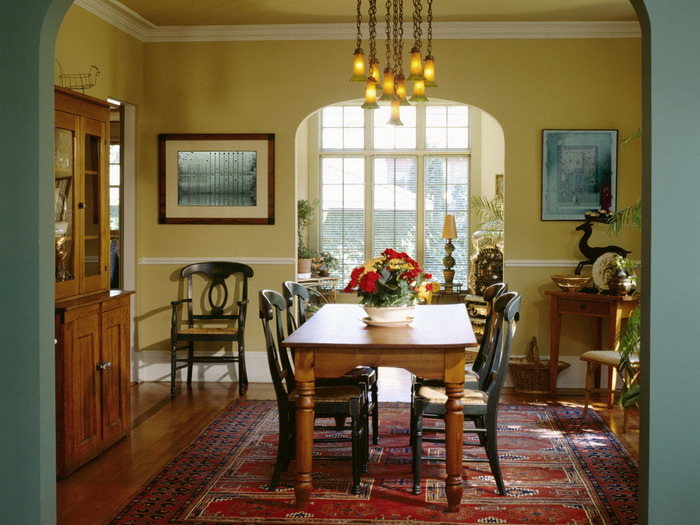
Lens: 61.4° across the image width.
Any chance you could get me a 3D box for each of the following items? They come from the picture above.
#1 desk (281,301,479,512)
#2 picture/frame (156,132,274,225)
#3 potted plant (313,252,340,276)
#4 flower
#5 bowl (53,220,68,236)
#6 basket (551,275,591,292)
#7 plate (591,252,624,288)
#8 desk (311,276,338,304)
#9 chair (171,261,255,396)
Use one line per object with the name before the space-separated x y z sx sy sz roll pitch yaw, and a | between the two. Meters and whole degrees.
desk | 0.207 0.868 4.342 1.116 0.999 2.068 0 4 0
picture/frame | -1.304 -0.866 5.890 0.911 0.770 0.070 0 3 4
potted plant | -0.350 0.034 8.319 0.329 0.416 0.307 1 -4 -10
flower | 0.267 0.053 3.887 0.421 0.345 0.428 2 -1 19
bowl | -1.853 -0.212 3.790 0.034 0.098 0.171 -1 5 -11
basket | 2.035 0.200 5.452 0.335 0.133 0.153 2 5 20
plate | 2.284 0.097 5.239 0.157 0.345 0.288 -1 5 -11
desk | -0.379 0.372 8.322 0.426 0.412 0.348 -1 -3 2
chair | -1.358 0.616 5.777 0.818 1.220 0.793 -1 5 -5
